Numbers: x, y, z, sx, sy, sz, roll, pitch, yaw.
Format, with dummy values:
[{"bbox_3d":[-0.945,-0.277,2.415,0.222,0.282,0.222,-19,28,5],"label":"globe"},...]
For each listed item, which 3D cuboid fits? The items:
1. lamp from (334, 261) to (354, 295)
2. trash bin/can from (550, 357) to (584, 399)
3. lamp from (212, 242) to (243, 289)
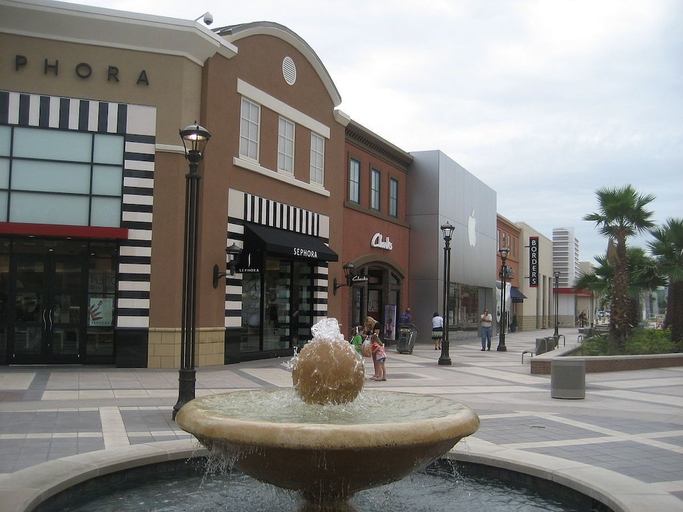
[{"bbox_3d":[0.121,0.994,26.431,0.757,1.429,1.566,2,-3,7],"label":"lamp"},{"bbox_3d":[5.581,2.988,14.853,0.785,1.028,0.859,-1,-3,23],"label":"trash bin/can"},{"bbox_3d":[-3.740,0.319,19.661,0.860,1.474,0.898,2,-2,8],"label":"lamp"}]
